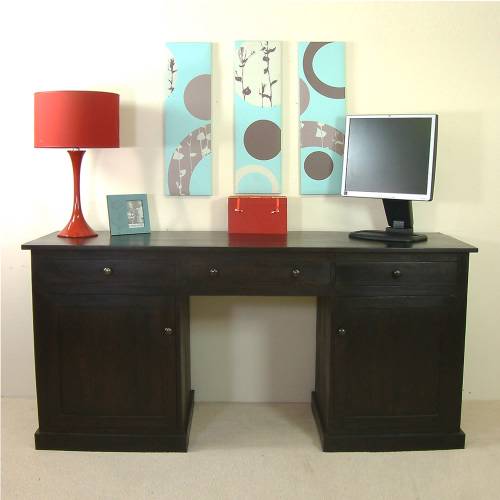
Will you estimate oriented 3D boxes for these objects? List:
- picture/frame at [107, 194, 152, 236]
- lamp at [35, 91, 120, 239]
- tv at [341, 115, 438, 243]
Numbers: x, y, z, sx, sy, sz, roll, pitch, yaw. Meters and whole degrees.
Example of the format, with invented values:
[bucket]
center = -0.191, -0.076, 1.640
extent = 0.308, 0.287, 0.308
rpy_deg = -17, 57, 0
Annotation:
[picture/frame]
center = -0.558, -0.162, 2.372
extent = 0.162, 0.195, 0.016
rpy_deg = -2, -4, -30
[lamp]
center = -0.755, -0.372, 2.275
extent = 0.359, 0.624, 0.245
rpy_deg = -2, 13, -7
[tv]
center = 0.626, -0.332, 2.332
extent = 0.359, 0.568, 0.249
rpy_deg = 4, 9, 29
